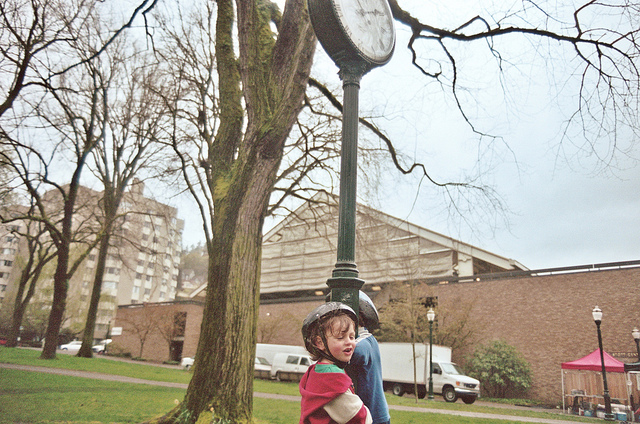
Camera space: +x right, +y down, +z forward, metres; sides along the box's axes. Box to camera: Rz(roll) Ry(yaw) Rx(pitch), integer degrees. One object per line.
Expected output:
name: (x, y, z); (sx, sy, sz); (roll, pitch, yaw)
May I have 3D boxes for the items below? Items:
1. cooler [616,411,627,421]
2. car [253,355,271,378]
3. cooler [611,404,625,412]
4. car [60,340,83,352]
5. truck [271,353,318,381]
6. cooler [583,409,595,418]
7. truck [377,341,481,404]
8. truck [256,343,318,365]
cooler: (15.712, 10.635, 26.915); (0.393, 0.303, 0.422); (-1, -18, 5)
car: (-4.268, 11.652, 38.869); (1.169, 1.643, 3.289); (5, -20, -5)
cooler: (16.496, 10.860, 28.582); (0.749, 0.561, 0.448); (-2, 1, 30)
car: (-32.844, 17.634, 68.079); (2.106, 1.774, 7.889); (13, -22, -25)
truck: (-2.060, 11.368, 39.411); (3.854, 2.137, 2.098); (7, 14, -20)
cooler: (15.350, 11.458, 29.409); (0.508, 0.473, 0.705); (0, -10, 14)
truck: (6.865, 10.467, 33.654); (6.522, 3.612, 3.199); (-10, -21, 43)
truck: (-3.157, 11.018, 40.091); (4.665, 1.658, 0.866); (-12, -23, 35)
